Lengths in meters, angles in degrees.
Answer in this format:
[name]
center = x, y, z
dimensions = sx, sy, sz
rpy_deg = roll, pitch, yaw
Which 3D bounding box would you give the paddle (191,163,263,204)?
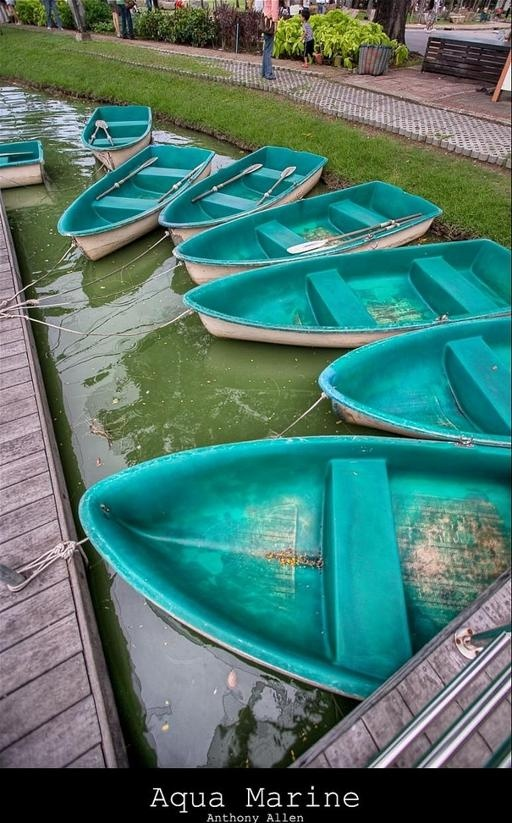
[paddle]
center = -0.358, -2.905, 7.135
dimensions = 1.488, 0.171, 0.100
rpy_deg = -41, 17, -30

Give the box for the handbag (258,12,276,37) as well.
[handbag]
center = 0.207, -7.335, 10.579
dimensions = 0.401, 0.198, 0.560
rpy_deg = -2, 62, -6

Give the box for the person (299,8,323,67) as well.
[person]
center = 1.213, -8.084, 12.096
dimensions = 0.466, 1.060, 1.605
rpy_deg = 5, 40, 3
